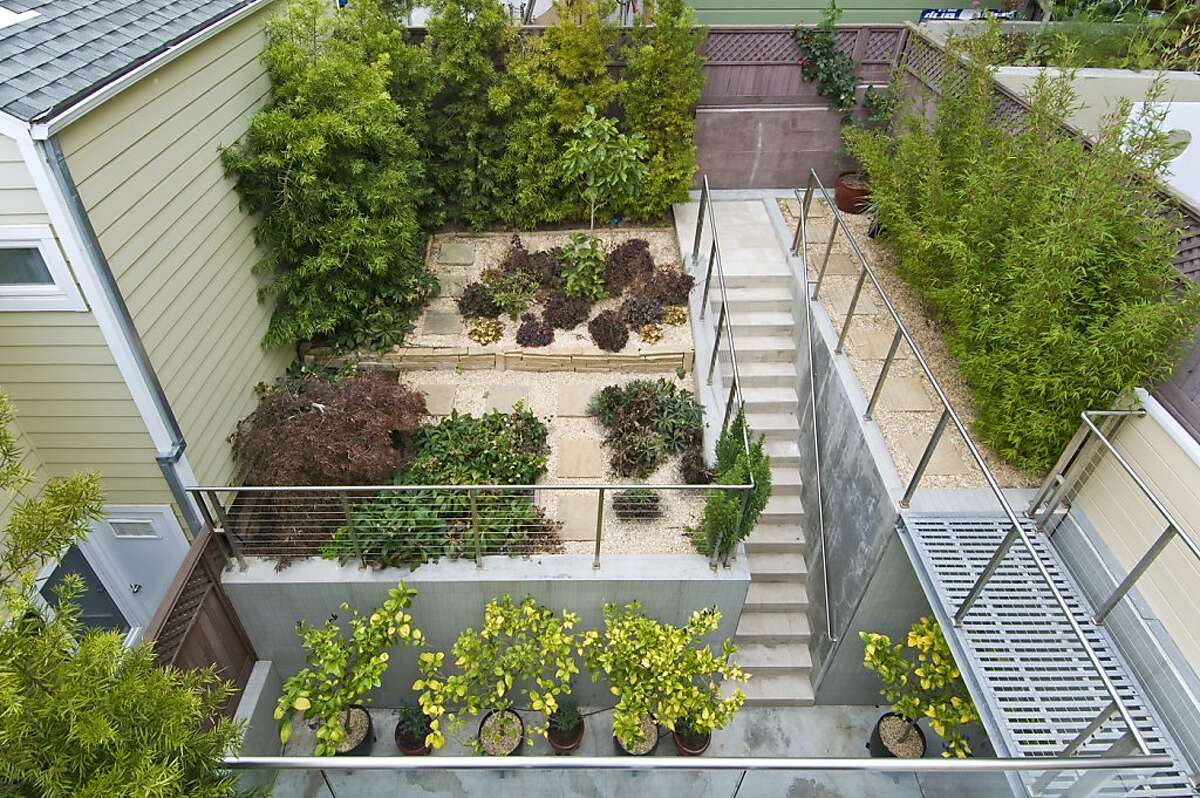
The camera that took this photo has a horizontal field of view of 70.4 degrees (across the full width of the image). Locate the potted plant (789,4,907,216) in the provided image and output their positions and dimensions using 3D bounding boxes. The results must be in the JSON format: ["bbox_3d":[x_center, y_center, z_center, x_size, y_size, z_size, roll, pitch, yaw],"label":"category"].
[{"bbox_3d":[3.308,-3.951,11.296,1.081,1.890,1.893,-15,46,-9],"label":"potted plant"}]
